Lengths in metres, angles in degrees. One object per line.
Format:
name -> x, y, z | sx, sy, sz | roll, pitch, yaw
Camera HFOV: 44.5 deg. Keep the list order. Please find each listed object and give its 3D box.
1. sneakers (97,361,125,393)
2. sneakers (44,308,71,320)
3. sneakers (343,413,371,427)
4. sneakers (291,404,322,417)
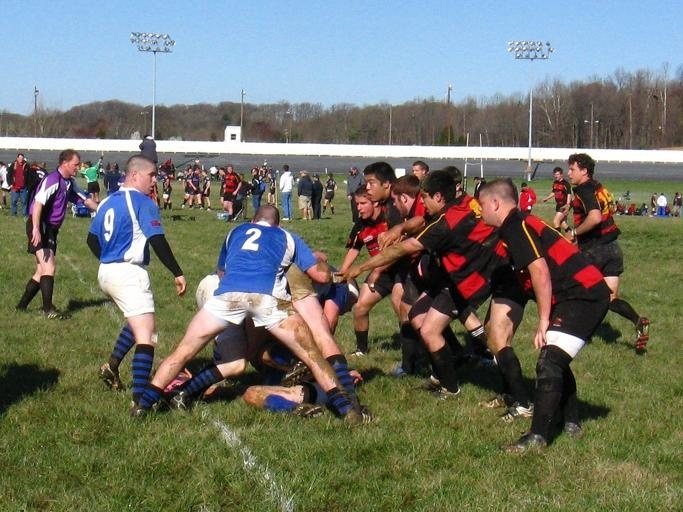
sneakers -> -2.723, 1.451, 9.967 | 0.208, 0.450, 0.165 | -39, 30, -4
sneakers -> -4.192, 0.854, 12.375 | 0.414, 0.217, 0.149 | -5, 8, 22
sneakers -> 0.190, 1.759, 9.048 | 0.302, 0.127, 0.069 | -2, 11, -17
sneakers -> -0.376, 1.714, 9.265 | 0.224, 0.071, 0.145 | 3, 19, 1
